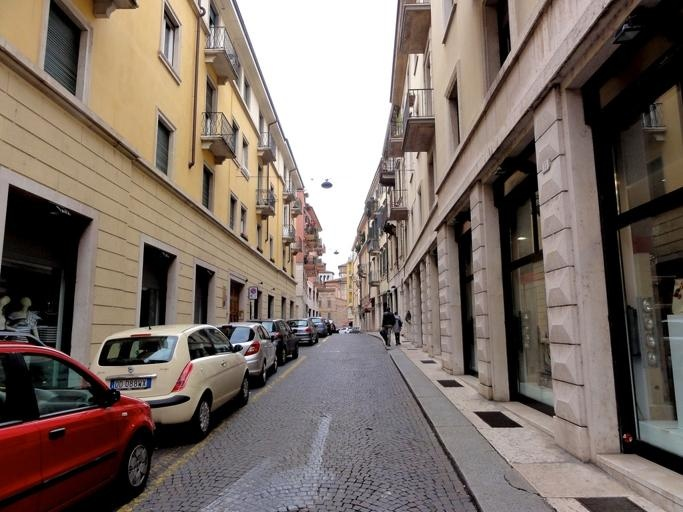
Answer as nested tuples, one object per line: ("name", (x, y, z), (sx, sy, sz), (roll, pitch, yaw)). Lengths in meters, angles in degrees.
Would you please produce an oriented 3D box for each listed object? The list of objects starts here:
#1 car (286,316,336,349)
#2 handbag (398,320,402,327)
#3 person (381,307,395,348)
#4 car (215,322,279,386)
("car", (-1.851, 4.084, 28.611), (0.940, 1.184, 3.297), (-1, -4, 9))
("handbag", (2.760, 3.195, 25.327), (0.106, 0.303, 0.487), (1, -4, 9))
("person", (2.023, 3.161, 23.309), (0.574, 1.706, 2.487), (-4, -15, 3))
("car", (-2.240, 2.309, 13.393), (0.714, 0.818, 1.791), (-2, -1, 5))
